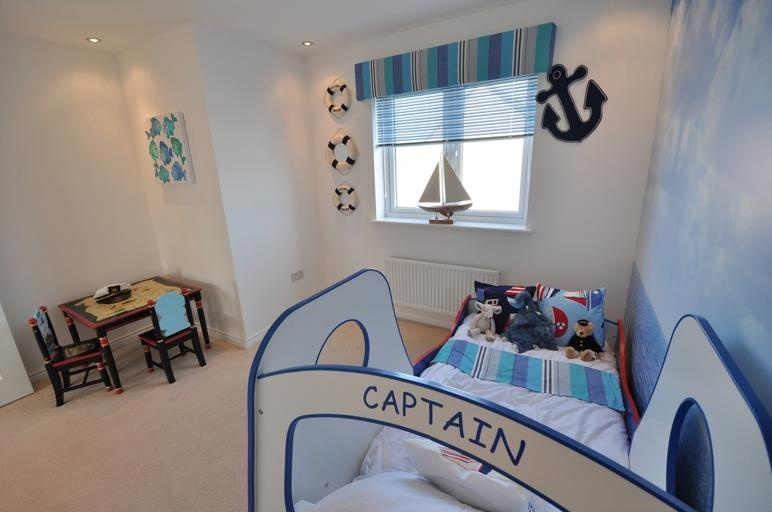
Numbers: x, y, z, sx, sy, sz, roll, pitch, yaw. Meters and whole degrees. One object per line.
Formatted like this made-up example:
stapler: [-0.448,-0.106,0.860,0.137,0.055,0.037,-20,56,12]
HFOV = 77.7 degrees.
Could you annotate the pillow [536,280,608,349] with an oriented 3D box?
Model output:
pillow: [1.564,0.511,4.043,0.484,0.532,0.193,4,-4,33]

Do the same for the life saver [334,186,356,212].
life saver: [-0.418,-0.638,5.243,0.248,0.267,0.078,-18,2,44]

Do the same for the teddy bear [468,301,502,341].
teddy bear: [0.869,0.571,4.197,0.245,0.311,0.212,10,15,4]

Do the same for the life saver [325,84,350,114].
life saver: [-0.483,-1.619,4.947,0.269,0.286,0.081,6,21,41]

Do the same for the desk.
desk: [-2.422,0.992,4.769,0.914,0.898,1.213,12,24,27]

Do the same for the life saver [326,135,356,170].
life saver: [-0.469,-1.092,5.076,0.332,0.348,0.080,-18,-5,41]

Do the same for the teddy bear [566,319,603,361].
teddy bear: [1.616,0.700,3.911,0.317,0.338,0.278,4,6,38]

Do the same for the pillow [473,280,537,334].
pillow: [1.042,0.468,4.223,0.421,0.447,0.160,1,-6,23]

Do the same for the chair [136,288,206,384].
chair: [-2.047,0.711,4.555,0.490,0.832,0.459,9,17,42]

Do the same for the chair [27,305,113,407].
chair: [-2.814,0.856,4.311,0.489,0.820,0.572,-11,15,-33]
